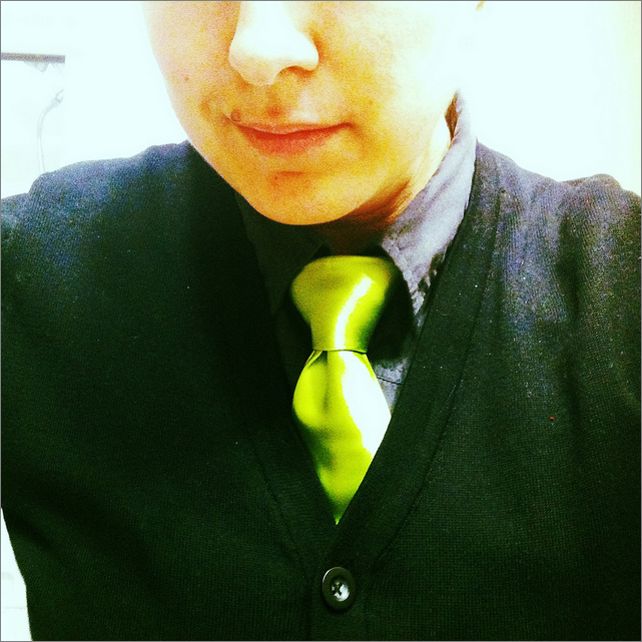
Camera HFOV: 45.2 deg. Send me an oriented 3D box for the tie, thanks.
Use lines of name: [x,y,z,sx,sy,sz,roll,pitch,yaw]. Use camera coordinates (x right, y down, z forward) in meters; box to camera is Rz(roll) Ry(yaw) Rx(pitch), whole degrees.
tie: [0.009,0.051,0.720,0.100,0.260,0.063,1,-5,7]
